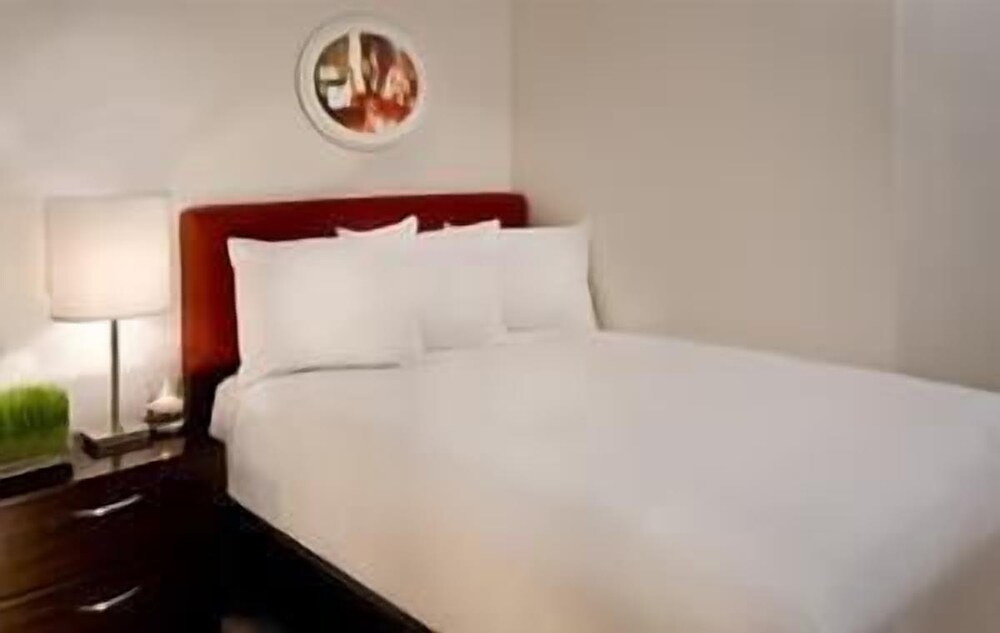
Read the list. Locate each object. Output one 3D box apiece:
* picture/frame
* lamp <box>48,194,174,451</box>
[{"bbox_3d":[-0.678,-1.136,3.425,0.726,0.701,0.077,-7,8,-40],"label":"picture/frame"},{"bbox_3d":[-1.422,0.013,2.669,0.436,0.919,0.231,-8,8,-30],"label":"lamp"}]
